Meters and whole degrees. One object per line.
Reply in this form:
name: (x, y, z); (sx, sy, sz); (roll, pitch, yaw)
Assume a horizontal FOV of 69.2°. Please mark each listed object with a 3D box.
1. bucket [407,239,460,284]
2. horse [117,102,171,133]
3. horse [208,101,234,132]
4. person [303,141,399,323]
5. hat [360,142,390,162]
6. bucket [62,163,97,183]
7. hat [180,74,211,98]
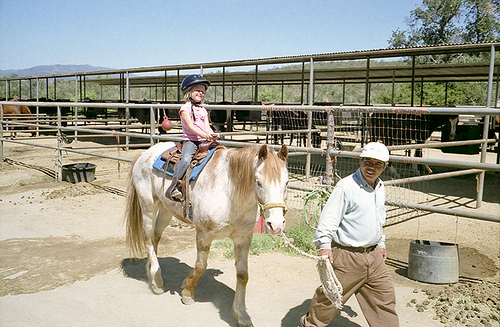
bucket: (2.535, 1.361, 5.015); (0.553, 0.440, 0.571); (2, -3, 0)
horse: (-5.580, -2.000, 17.993); (1.537, 1.693, 1.604); (2, 18, 18)
horse: (-1.163, -2.205, 14.785); (1.043, 1.102, 1.443); (1, -26, -7)
person: (1.099, 0.688, 3.617); (0.808, 1.766, 0.577); (3, 12, 11)
hat: (1.259, -0.117, 3.629); (0.281, 0.193, 0.220); (3, 12, 8)
bucket: (-4.746, 0.253, 9.977); (0.969, 0.443, 1.016); (3, 5, 0)
hat: (-0.730, -1.048, 4.659); (0.410, 0.227, 0.290); (-12, 4, 44)
